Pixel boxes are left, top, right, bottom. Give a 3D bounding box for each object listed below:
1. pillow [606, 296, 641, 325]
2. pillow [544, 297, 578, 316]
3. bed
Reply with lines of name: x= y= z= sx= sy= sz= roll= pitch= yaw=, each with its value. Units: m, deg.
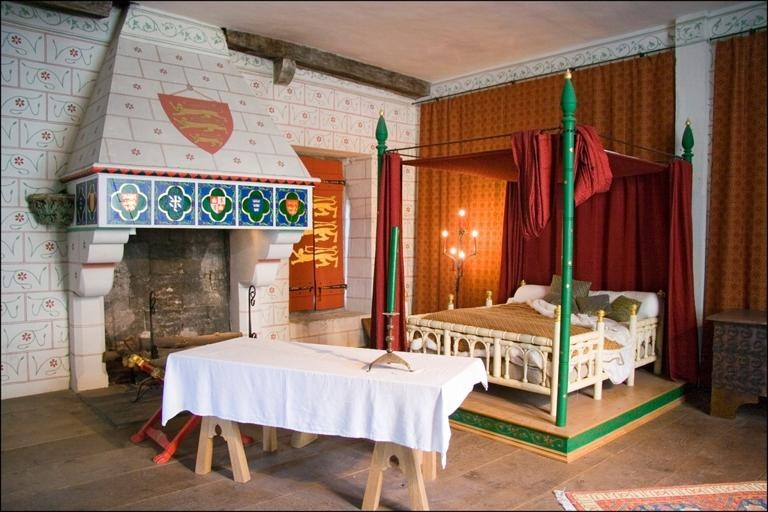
pillow: x=3.243 y=0.709 z=7.685 sx=0.118 sy=0.340 sz=0.382 roll=34 pitch=-5 yaw=-40
pillow: x=2.447 y=0.678 z=8.016 sx=0.337 sy=0.141 sz=0.313 roll=-10 pitch=13 yaw=-39
bed: x=2.192 y=1.059 z=7.131 sx=1.789 sy=0.756 sz=1.991 roll=2 pitch=3 yaw=44
